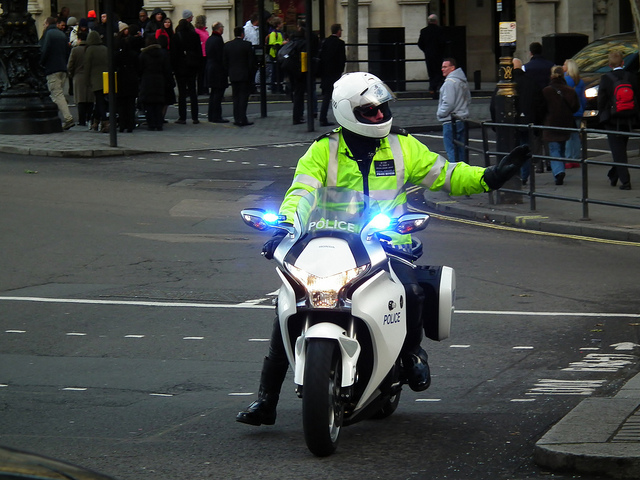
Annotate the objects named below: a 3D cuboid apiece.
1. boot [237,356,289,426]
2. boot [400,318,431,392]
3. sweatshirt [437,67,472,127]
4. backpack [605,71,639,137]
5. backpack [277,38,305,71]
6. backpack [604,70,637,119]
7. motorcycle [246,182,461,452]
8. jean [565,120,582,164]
[{"bbox_3d":[-0.375,0.981,6.784,0.221,0.421,0.432,8,-1,30],"label":"boot"},{"bbox_3d":[0.623,0.752,6.818,0.236,0.430,0.312,5,9,23],"label":"boot"},{"bbox_3d":[2.365,-2.535,18.330,0.559,0.975,0.921,2,13,6],"label":"sweatshirt"},{"bbox_3d":[4.903,-2.275,16.858,0.419,0.917,0.506,2,14,6],"label":"backpack"},{"bbox_3d":[-0.673,-4.457,24.739,0.528,0.757,1.051,0,13,-1],"label":"backpack"},{"bbox_3d":[4.885,-2.366,16.844,0.412,0.734,0.515,0,13,1],"label":"backpack"},{"bbox_3d":[0.198,0.470,6.427,0.963,1.572,0.702,-7,16,-28],"label":"motorcycle"},{"bbox_3d":[4.302,-1.630,17.744,0.214,0.535,1.267,4,13,16],"label":"jean"}]
